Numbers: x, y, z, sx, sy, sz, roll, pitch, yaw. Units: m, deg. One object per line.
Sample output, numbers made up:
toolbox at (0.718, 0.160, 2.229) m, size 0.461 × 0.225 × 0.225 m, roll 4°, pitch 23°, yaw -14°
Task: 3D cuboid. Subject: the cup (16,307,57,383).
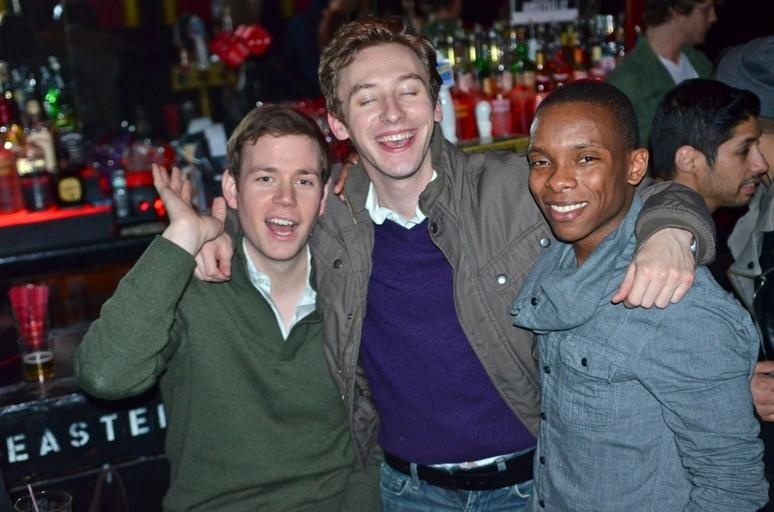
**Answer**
cup at (-1.558, 0.426, 2.972) m, size 0.147 × 0.285 × 0.141 m, roll -17°, pitch -13°, yaw -4°
